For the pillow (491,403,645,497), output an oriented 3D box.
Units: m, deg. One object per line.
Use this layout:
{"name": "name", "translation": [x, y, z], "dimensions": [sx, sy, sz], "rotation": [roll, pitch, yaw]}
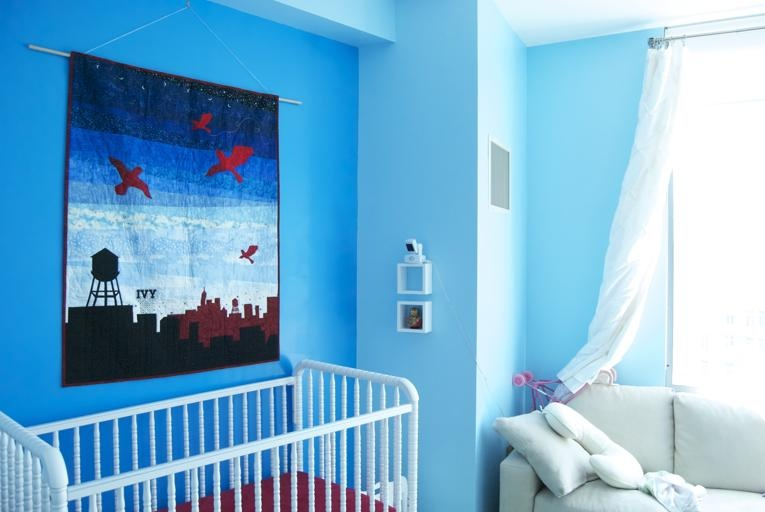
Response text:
{"name": "pillow", "translation": [1.215, 1.256, 4.345], "dimensions": [0.928, 0.504, 0.459], "rotation": [-1, 3, 8]}
